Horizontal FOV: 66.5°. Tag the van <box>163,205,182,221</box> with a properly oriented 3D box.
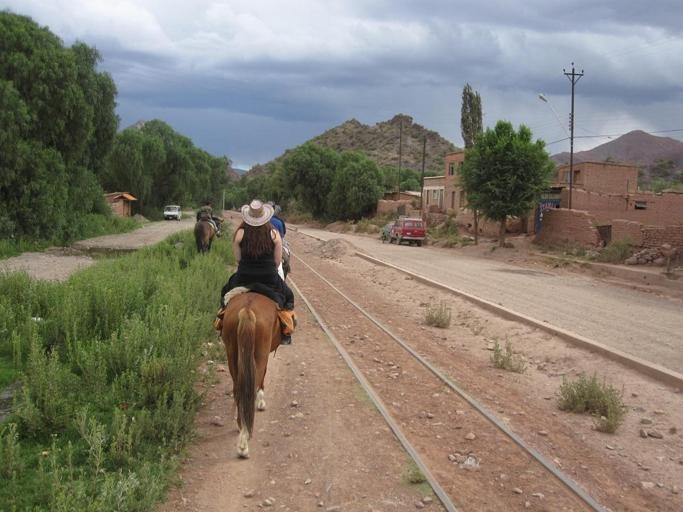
[{"bbox_3d":[-21.797,-5.648,67.733,1.577,1.692,3.033,1,2,-9],"label":"van"}]

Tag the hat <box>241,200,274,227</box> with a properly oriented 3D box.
[{"bbox_3d":[-1.337,-0.715,8.423,0.512,0.441,0.328,-6,13,-42],"label":"hat"}]

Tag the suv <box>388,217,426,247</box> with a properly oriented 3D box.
[{"bbox_3d":[5.407,-2.189,43.377,1.581,1.960,3.037,0,13,-11],"label":"suv"}]

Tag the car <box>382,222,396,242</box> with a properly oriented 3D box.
[{"bbox_3d":[4.044,-2.094,45.473,0.584,1.748,1.096,21,20,27],"label":"car"}]

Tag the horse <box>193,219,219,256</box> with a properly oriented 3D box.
[{"bbox_3d":[-5.573,-0.742,21.268,0.597,1.830,2.403,4,-3,-5],"label":"horse"}]
